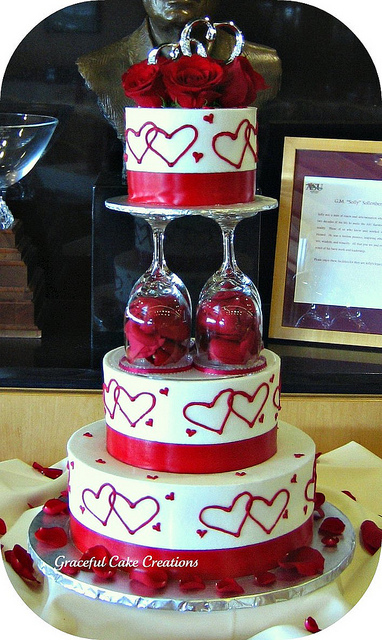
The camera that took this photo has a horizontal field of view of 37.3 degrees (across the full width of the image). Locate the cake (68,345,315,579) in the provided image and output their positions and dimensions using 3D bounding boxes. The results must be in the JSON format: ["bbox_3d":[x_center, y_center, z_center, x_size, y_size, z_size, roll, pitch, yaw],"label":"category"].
[{"bbox_3d":[-0.009,0.173,0.770,0.282,0.198,0.280,-2,12,-10],"label":"cake"}]

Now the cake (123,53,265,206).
[{"bbox_3d":[0.001,-0.246,0.776,0.185,0.188,0.191,-2,16,-5],"label":"cake"}]

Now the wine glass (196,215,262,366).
[{"bbox_3d":[0.054,-0.033,0.772,0.098,0.200,0.135,0,3,3],"label":"wine glass"}]

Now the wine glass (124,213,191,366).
[{"bbox_3d":[-0.047,-0.033,0.763,0.098,0.198,0.125,0,3,0],"label":"wine glass"}]
